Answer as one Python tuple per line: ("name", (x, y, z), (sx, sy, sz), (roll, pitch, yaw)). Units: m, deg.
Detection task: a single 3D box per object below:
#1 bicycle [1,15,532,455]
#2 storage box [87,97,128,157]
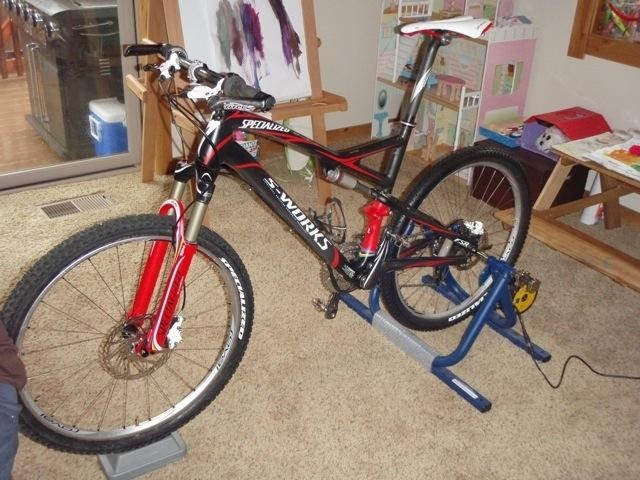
("bicycle", (-0.107, -0.030, 2.021), (2.131, 1.592, 0.515), (-8, 33, -22))
("storage box", (-1.561, -0.867, 3.881), (0.370, 0.484, 0.375), (-7, 24, -23))
